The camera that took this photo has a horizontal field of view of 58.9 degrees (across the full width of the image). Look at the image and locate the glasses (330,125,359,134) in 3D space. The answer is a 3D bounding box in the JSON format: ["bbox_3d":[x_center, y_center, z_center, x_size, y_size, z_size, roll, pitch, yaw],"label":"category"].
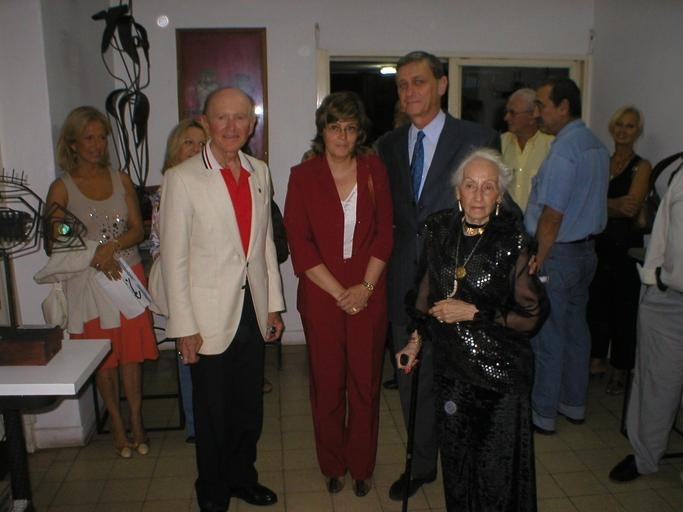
[{"bbox_3d":[0.008,-0.694,3.318,0.150,0.049,0.022,-4,16,-3],"label":"glasses"}]

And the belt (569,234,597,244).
[{"bbox_3d":[1.588,-0.108,4.064,0.109,0.035,0.103,-15,9,-32],"label":"belt"}]

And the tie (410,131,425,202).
[{"bbox_3d":[0.425,-0.509,3.415,0.085,0.380,0.128,-1,16,8],"label":"tie"}]

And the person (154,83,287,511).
[{"bbox_3d":[-0.634,0.295,3.366,0.659,2.344,0.450,-9,17,-20],"label":"person"}]

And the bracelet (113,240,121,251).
[{"bbox_3d":[-1.402,-0.064,3.793,0.051,0.054,0.016,-18,2,6],"label":"bracelet"}]
